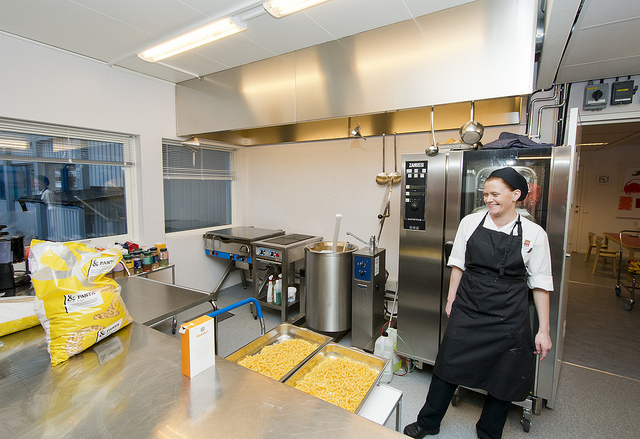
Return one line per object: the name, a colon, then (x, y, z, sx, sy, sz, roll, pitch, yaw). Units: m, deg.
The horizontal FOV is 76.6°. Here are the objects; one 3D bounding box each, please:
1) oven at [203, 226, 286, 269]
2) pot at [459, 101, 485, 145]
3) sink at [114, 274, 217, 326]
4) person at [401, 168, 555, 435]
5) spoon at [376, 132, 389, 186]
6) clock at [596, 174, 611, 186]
oven: (-0.836, 0.400, 5.816, 1.162, 0.433, 1.336, 5, 6, 39)
pot: (1.437, -0.905, 3.814, 0.181, 0.393, 0.308, 1, 7, 30)
sink: (-1.414, 0.699, 3.571, 0.550, 0.130, 0.401, 8, 10, 36)
person: (1.333, 0.703, 3.281, 0.957, 2.207, 0.413, 0, 8, 22)
spoon: (0.753, -0.724, 4.898, 0.143, 0.630, 0.081, -2, 7, 6)
clock: (5.991, -0.846, 8.581, 0.035, 0.254, 0.261, 1, 0, -43)
